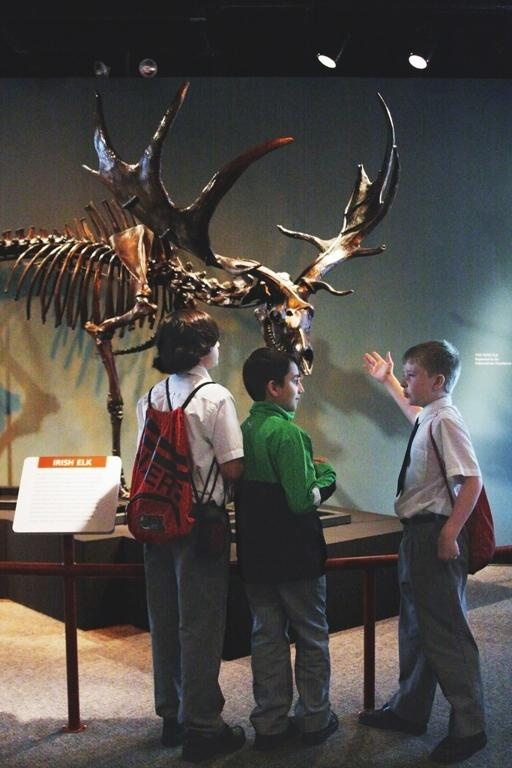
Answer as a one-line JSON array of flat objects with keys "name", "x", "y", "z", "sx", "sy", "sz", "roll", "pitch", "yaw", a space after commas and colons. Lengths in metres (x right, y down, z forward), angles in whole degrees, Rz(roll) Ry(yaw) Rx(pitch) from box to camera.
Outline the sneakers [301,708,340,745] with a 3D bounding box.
[{"name": "sneakers", "x": 0.224, "y": 1.205, "z": 2.653, "sx": 0.057, "sy": 0.058, "sz": 0.164, "roll": -1, "pitch": -2, "yaw": 28}]

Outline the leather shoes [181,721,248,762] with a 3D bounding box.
[{"name": "leather shoes", "x": -0.143, "y": 1.208, "z": 2.606, "sx": 0.266, "sy": 0.102, "sz": 0.087, "roll": 2, "pitch": -4, "yaw": -40}]

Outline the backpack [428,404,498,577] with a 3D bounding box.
[{"name": "backpack", "x": 0.744, "y": 0.408, "z": 2.645, "sx": 0.270, "sy": 0.387, "sz": 0.137, "roll": -2, "pitch": -2, "yaw": -18}]

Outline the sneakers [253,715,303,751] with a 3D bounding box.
[{"name": "sneakers", "x": 0.078, "y": 1.210, "z": 2.598, "sx": 0.073, "sy": 0.050, "sz": 0.177, "roll": -3, "pitch": -2, "yaw": 43}]

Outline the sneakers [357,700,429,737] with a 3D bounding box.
[{"name": "sneakers", "x": 0.488, "y": 1.219, "z": 2.773, "sx": 0.255, "sy": 0.092, "sz": 0.083, "roll": -3, "pitch": -8, "yaw": 29}]

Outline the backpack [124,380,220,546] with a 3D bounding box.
[{"name": "backpack", "x": -0.286, "y": 0.256, "z": 2.558, "sx": 0.300, "sy": 0.532, "sz": 0.185, "roll": -2, "pitch": -1, "yaw": -2}]
